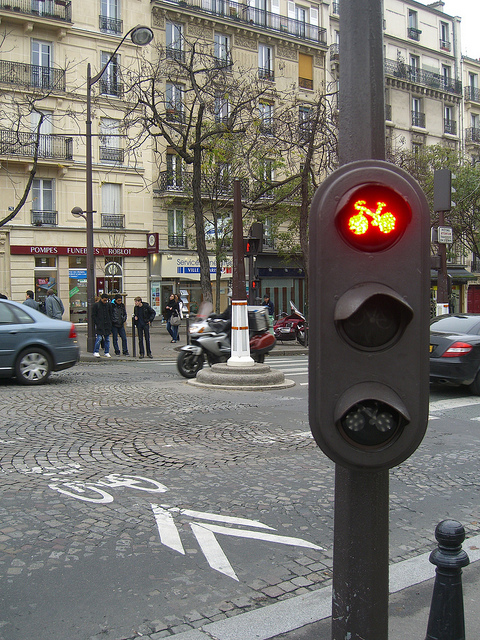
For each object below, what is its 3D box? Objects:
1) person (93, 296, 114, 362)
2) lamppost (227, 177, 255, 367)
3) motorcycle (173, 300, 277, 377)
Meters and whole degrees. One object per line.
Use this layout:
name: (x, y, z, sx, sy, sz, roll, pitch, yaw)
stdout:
person: (-3.540, 0.152, 17.805, 0.529, 1.571, 0.785, 1, 1, -12)
lamppost: (0.012, -0.783, 11.555, 0.597, 3.131, 0.601, -13, 17, -35)
motorcycle: (-0.320, 0.345, 12.646, 1.645, 1.372, 1.129, 1, 1, -6)
